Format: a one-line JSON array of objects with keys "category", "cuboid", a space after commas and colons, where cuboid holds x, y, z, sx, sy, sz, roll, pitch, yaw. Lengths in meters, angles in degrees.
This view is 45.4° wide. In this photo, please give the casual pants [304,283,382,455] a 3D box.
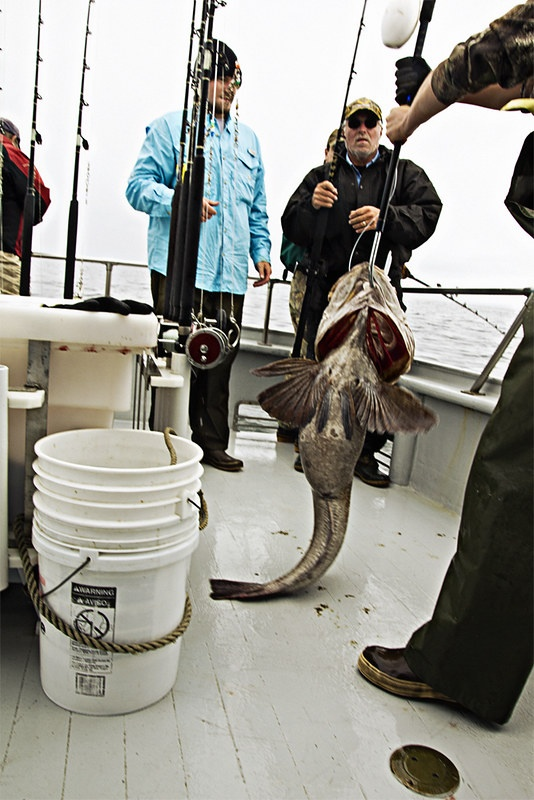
[{"category": "casual pants", "cuboid": [0.349, -0.079, 3.029, 0.374, 0.874, 0.338, 9, 17, 6]}]

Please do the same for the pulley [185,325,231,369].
[{"category": "pulley", "cuboid": [-0.188, -0.163, 1.907, 0.113, 0.125, 0.038, 0, 14, -21]}]

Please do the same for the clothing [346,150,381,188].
[{"category": "clothing", "cuboid": [0.431, -1.012, 2.856, 0.124, 0.192, 0.045, -1, 12, 0]}]

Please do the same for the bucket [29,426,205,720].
[{"category": "bucket", "cuboid": [-0.313, 0.333, 1.344, 0.328, 0.514, 0.338, 5, 8, -1]}]

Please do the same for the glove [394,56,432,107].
[{"category": "glove", "cuboid": [0.290, -0.643, 1.282, 0.022, 0.089, 0.080, -9, -9, -35]}]

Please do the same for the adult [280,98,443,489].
[{"category": "adult", "cuboid": [0.380, -0.493, 2.843, 0.661, 1.703, 0.593, 3, 5, 12]}]

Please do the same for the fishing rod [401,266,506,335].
[{"category": "fishing rod", "cuboid": [0.931, -0.482, 3.099, 0.112, 0.079, 0.914, -23, 35, -7]}]

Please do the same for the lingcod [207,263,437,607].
[{"category": "lingcod", "cuboid": [0.181, 0.008, 1.836, 0.471, 0.990, 0.316, 14, 21, 4]}]

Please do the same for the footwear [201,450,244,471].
[{"category": "footwear", "cuboid": [-0.219, 0.298, 3.158, 0.234, 0.099, 0.103, 10, 14, 31]}]
